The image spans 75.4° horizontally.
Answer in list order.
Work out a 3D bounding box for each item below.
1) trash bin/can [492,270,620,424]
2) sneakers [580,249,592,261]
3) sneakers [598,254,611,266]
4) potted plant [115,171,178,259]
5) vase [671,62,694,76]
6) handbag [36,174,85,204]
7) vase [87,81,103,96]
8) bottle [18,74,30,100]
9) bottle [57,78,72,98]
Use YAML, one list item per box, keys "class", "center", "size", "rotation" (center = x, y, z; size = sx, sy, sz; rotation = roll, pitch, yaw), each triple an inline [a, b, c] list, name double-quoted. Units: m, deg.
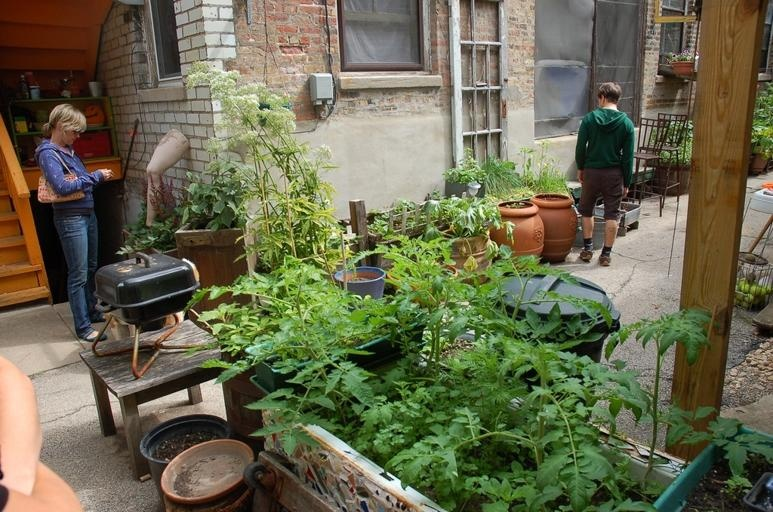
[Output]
- class: "trash bin/can"
  center: [1.016, 0.353, 2.915]
  size: [0.705, 0.571, 0.687]
  rotation: [6, 21, 18]
- class: "sneakers"
  center: [2.671, -0.020, 6.688]
  size: [0.102, 0.090, 0.211]
  rotation: [0, 17, 13]
- class: "sneakers"
  center: [2.831, 0.051, 6.486]
  size: [0.082, 0.079, 0.186]
  rotation: [2, 23, 17]
- class: "potted plant"
  center: [-3.139, -0.547, 6.504]
  size: [0.714, 0.927, 3.095]
  rotation: [-12, 18, -26]
- class: "vase"
  center: [6.015, -3.827, 10.231]
  size: [0.206, 0.298, 0.555]
  rotation: [-4, 16, 1]
- class: "handbag"
  center: [-3.331, -0.673, 5.073]
  size: [0.431, 0.278, 0.295]
  rotation: [-7, 16, -11]
- class: "vase"
  center: [-4.242, -2.443, 7.327]
  size: [0.178, 0.224, 0.226]
  rotation: [-12, 18, -26]
- class: "bottle"
  center: [-5.234, -2.451, 7.228]
  size: [0.125, 0.346, 0.267]
  rotation: [-14, 19, -31]
- class: "bottle"
  center: [-4.694, -2.464, 7.342]
  size: [0.162, 0.282, 0.312]
  rotation: [-13, 18, -28]
